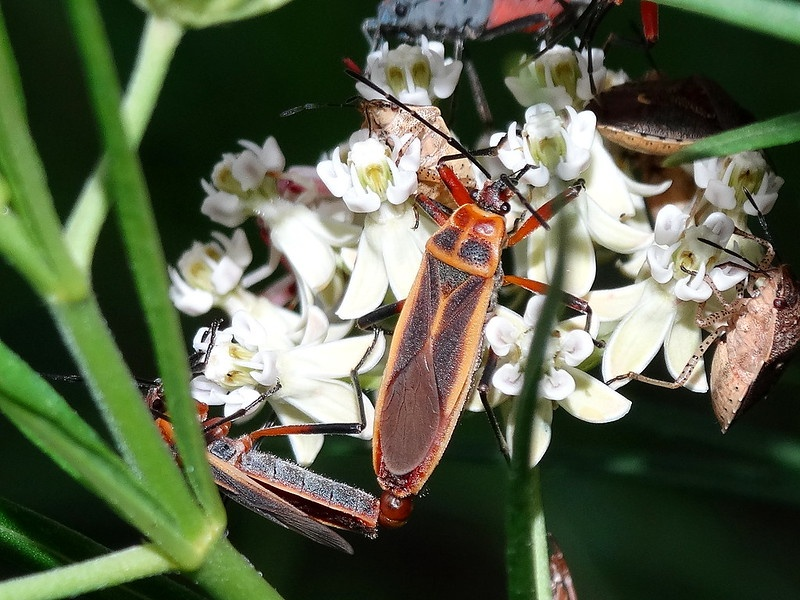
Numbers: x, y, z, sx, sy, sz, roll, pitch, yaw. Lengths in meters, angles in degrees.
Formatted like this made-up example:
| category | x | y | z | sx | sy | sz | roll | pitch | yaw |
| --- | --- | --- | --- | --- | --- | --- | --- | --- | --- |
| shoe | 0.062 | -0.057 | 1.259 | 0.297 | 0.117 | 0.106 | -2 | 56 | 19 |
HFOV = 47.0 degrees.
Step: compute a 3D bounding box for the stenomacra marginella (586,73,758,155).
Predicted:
| category | x | y | z | sx | sy | sz | roll | pitch | yaw |
| --- | --- | --- | --- | --- | --- | --- | --- | --- | --- |
| stenomacra marginella | 0.709 | -0.485 | 2.388 | 0.337 | 0.120 | 0.268 | 2 | 28 | 5 |
